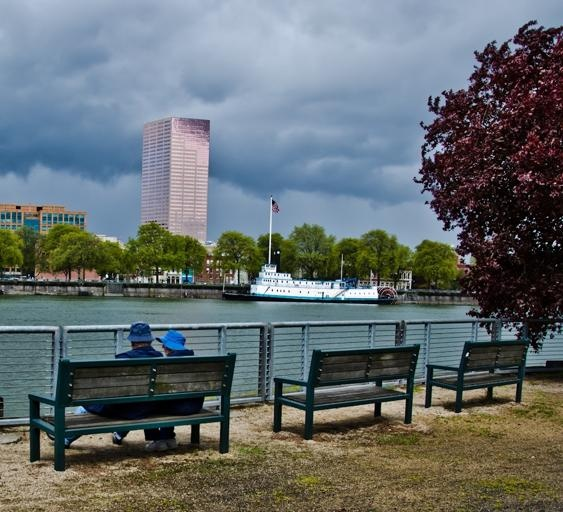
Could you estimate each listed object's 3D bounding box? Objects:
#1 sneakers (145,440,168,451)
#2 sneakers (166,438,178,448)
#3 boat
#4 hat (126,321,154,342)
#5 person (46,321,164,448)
[{"bbox_3d":[-1.379,2.107,10.761,0.239,0.131,0.099,4,-7,3],"label":"sneakers"},{"bbox_3d":[-1.214,2.088,10.768,0.061,0.060,0.156,3,-10,-26],"label":"sneakers"},{"bbox_3d":[2.847,0.081,92.679,20.557,9.303,4.328,6,-3,-41],"label":"boat"},{"bbox_3d":[-1.551,0.829,10.589,0.225,0.103,0.248,1,4,-18],"label":"hat"},{"bbox_3d":[-1.751,1.417,10.481,0.962,1.390,0.944,4,-3,-29],"label":"person"}]
